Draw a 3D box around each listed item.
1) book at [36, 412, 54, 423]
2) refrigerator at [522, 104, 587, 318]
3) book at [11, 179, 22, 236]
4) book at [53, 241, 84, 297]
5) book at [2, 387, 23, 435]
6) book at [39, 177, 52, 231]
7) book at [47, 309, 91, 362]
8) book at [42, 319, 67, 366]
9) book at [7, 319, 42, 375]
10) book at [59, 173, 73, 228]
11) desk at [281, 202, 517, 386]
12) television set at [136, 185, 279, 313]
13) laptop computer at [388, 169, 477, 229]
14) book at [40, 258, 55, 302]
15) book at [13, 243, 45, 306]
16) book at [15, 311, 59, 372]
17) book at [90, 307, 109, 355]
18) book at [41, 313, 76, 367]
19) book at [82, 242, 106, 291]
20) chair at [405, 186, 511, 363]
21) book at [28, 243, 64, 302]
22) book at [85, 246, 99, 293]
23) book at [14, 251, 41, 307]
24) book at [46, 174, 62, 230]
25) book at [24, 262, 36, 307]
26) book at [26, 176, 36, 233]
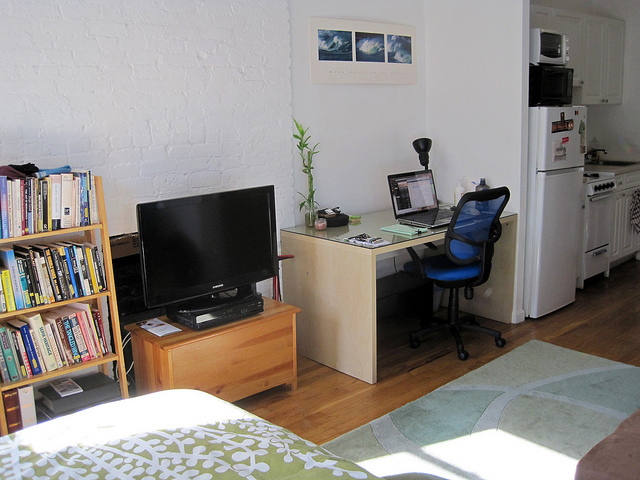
[{"bbox_3d":[-1.423,0.916,2.480,0.049,0.016,0.072,-29,44,-29],"label":"book"},{"bbox_3d":[1.988,-0.237,4.069,0.710,1.742,0.303,-14,19,-39],"label":"refrigerator"},{"bbox_3d":[-1.422,-0.159,2.244,0.031,0.288,0.231,-6,12,-35],"label":"book"},{"bbox_3d":[-1.248,0.151,2.445,0.050,0.210,0.207,-12,14,-27],"label":"book"},{"bbox_3d":[-1.510,0.839,2.353,0.036,0.228,0.073,8,18,37],"label":"book"},{"bbox_3d":[-1.329,-0.181,2.315,0.031,0.300,0.252,0,3,-37],"label":"book"},{"bbox_3d":[-1.278,0.490,2.438,0.091,0.248,0.239,-13,-15,28],"label":"book"},{"bbox_3d":[-1.314,0.518,2.433,0.044,0.183,0.186,-18,3,-28],"label":"book"},{"bbox_3d":[-1.443,0.533,2.343,0.080,0.207,0.223,-18,-7,-35],"label":"book"},{"bbox_3d":[-1.250,-0.201,2.358,0.080,0.223,0.241,-3,10,-31],"label":"book"},{"bbox_3d":[0.657,0.297,3.815,1.757,0.965,0.941,-12,17,-34],"label":"desk"},{"bbox_3d":[-0.678,0.058,2.817,0.751,0.531,0.196,-13,16,-42],"label":"television set"},{"bbox_3d":[0.852,-0.303,3.634,0.577,0.307,0.514,-6,21,-30],"label":"laptop computer"},{"bbox_3d":[-1.333,0.199,2.350,0.036,0.219,0.018,9,18,38],"label":"book"},{"bbox_3d":[-1.402,0.182,2.310,0.038,0.254,0.264,-18,15,-30],"label":"book"},{"bbox_3d":[-1.428,0.538,2.508,0.108,0.273,0.294,-18,-3,-26],"label":"book"},{"bbox_3d":[-1.171,0.482,2.552,0.047,0.198,0.200,-20,-1,-18],"label":"book"},{"bbox_3d":[-1.320,0.505,2.410,0.093,0.239,0.259,-25,12,-27],"label":"book"},{"bbox_3d":[-1.156,0.134,2.504,0.049,0.201,0.203,-17,7,-21],"label":"book"},{"bbox_3d":[1.056,0.198,3.635,0.871,1.225,0.639,-9,16,-26],"label":"chair"},{"bbox_3d":[-1.328,0.169,2.381,0.056,0.228,0.224,-14,18,-25],"label":"book"},{"bbox_3d":[-1.167,0.167,2.455,0.039,0.166,0.167,-13,2,-17],"label":"book"},{"bbox_3d":[-1.408,0.188,2.302,0.041,0.289,0.260,-15,5,-34],"label":"book"},{"bbox_3d":[-1.297,-0.190,2.334,0.083,0.232,0.250,-4,9,-33],"label":"book"},{"bbox_3d":[-1.394,0.206,2.316,0.031,0.193,0.029,-12,17,-32],"label":"book"},{"bbox_3d":[-1.376,-0.173,2.279,0.042,0.312,0.254,0,4,-35],"label":"book"}]
